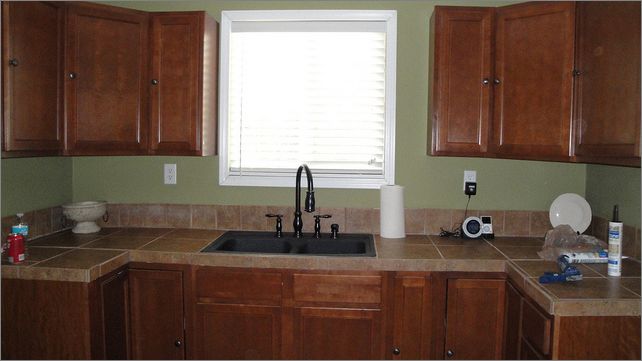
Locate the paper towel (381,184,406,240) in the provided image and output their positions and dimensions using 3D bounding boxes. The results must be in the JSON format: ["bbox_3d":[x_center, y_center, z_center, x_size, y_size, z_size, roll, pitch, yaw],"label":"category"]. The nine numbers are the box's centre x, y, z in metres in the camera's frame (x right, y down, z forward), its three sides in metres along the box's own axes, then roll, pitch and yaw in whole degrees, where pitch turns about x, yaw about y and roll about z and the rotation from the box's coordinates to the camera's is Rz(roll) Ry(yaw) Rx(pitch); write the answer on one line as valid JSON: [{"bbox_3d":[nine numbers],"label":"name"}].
[{"bbox_3d":[0.596,0.269,4.313,0.218,0.440,0.075,3,4,5],"label":"paper towel"}]

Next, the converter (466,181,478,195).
[{"bbox_3d":[1.282,0.066,4.442,0.126,0.115,0.062,1,-3,3],"label":"converter"}]

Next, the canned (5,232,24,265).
[{"bbox_3d":[-2.257,0.501,3.841,0.125,0.211,0.129,1,4,-29],"label":"canned"}]

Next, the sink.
[{"bbox_3d":[-0.229,0.535,4.221,1.333,0.182,0.491,3,4,4],"label":"sink"}]

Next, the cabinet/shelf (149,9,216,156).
[{"bbox_3d":[-1.365,-0.814,4.344,0.487,1.131,0.537,13,15,34],"label":"cabinet/shelf"}]

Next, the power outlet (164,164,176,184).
[{"bbox_3d":[-1.324,-0.047,4.563,0.117,0.183,0.023,4,4,13],"label":"power outlet"}]
